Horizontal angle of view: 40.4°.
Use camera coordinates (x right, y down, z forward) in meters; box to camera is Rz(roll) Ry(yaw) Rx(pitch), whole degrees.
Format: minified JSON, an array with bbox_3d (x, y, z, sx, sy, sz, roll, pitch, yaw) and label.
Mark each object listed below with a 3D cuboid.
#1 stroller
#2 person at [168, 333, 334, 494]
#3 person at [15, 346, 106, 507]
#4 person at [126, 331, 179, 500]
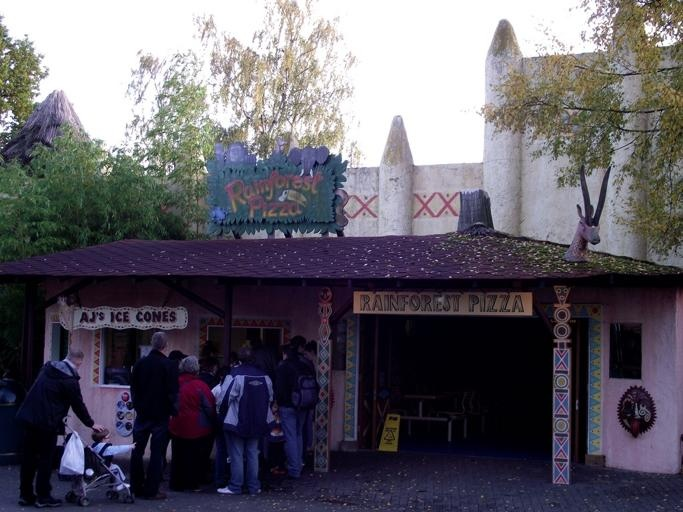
[{"bbox_3d":[-4.066,3.493,15.530,0.583,1.244,1.581,0,-7,1],"label":"stroller"},{"bbox_3d":[-1.460,2.847,16.366,1.065,3.445,1.564,0,-3,2],"label":"person"},{"bbox_3d":[-4.755,2.656,15.243,1.204,2.692,1.068,4,-2,-37],"label":"person"},{"bbox_3d":[-3.177,2.676,15.564,0.889,2.739,0.531,-3,7,-17],"label":"person"}]
